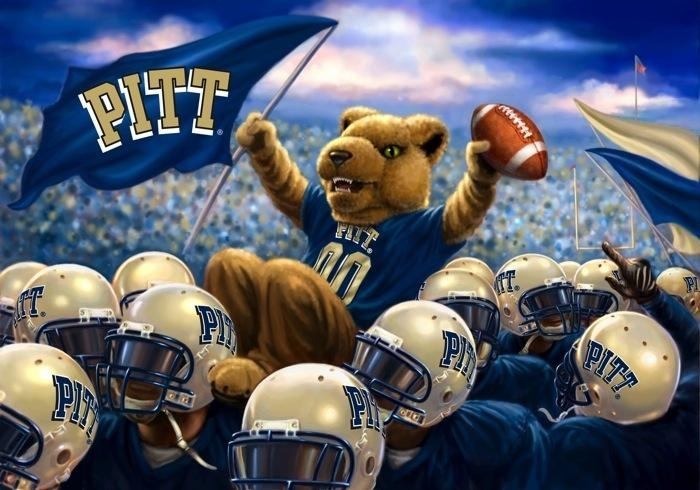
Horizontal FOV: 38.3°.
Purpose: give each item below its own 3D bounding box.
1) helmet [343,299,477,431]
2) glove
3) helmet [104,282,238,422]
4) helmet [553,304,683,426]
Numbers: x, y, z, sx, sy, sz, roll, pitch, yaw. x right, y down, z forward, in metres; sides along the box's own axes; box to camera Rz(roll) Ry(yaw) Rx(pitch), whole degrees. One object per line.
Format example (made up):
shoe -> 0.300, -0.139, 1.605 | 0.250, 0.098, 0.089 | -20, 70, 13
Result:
helmet -> 0.262, 0.437, 3.822 | 0.464, 0.437, 0.360 | 6, 4, -40
glove -> 1.113, 0.119, 4.050 | 0.290, 0.203, 0.099 | 13, 7, -7
helmet -> -0.663, 0.420, 3.828 | 0.359, 0.467, 0.491 | -3, -9, 35
helmet -> 1.055, 0.487, 3.972 | 0.432, 0.457, 0.347 | 5, 18, 23
